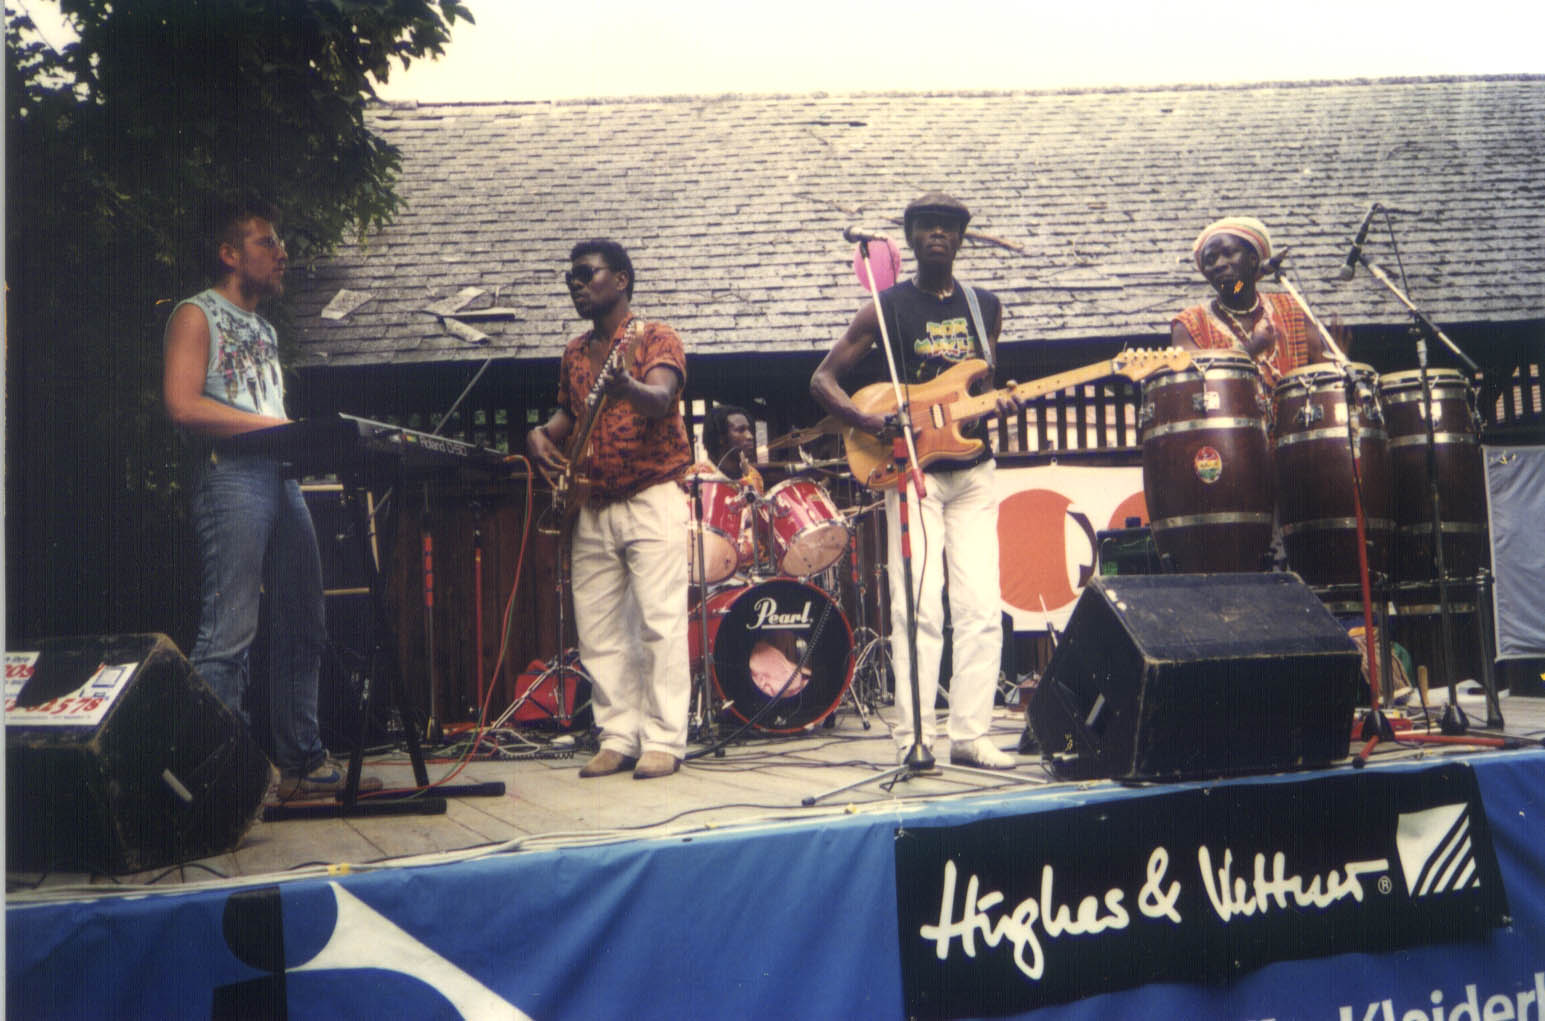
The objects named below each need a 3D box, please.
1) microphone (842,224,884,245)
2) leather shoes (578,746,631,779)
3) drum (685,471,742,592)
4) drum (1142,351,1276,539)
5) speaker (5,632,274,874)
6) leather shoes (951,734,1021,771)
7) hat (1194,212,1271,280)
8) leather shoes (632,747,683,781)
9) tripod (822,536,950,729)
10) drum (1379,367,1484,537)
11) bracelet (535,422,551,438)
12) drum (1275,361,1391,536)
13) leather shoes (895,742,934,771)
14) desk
[{"bbox_3d":[0.480,-1.457,10.589,0.190,0.123,0.250,-4,-5,12],"label":"microphone"},{"bbox_3d":[-0.891,1.336,10.744,0.120,0.133,0.329,-10,-13,44],"label":"leather shoes"},{"bbox_3d":[-0.406,0.015,12.205,0.334,0.366,0.339,-9,-20,20],"label":"drum"},{"bbox_3d":[2.330,-0.310,10.930,0.811,1.047,0.864,0,-17,0],"label":"drum"},{"bbox_3d":[-3.079,1.110,9.568,1.069,1.036,1.037,-8,-6,30],"label":"speaker"},{"bbox_3d":[1.082,1.257,10.471,0.138,0.160,0.375,-8,-6,-38],"label":"leather shoes"},{"bbox_3d":[2.591,-1.526,11.312,0.394,0.342,0.438,-4,-5,9],"label":"hat"},{"bbox_3d":[-0.594,1.324,10.629,0.176,0.149,0.393,-6,-5,28],"label":"leather shoes"},{"bbox_3d":[0.648,0.769,13.142,0.899,1.057,1.135,0,-13,5],"label":"tripod"},{"bbox_3d":[3.592,-0.352,11.018,0.461,0.929,0.715,-6,-5,32],"label":"drum"},{"bbox_3d":[-1.279,-0.447,10.976,0.042,0.087,0.115,-25,-2,-33],"label":"bracelet"},{"bbox_3d":[3.033,-0.347,10.987,0.535,0.914,0.460,-6,-5,32],"label":"drum"},{"bbox_3d":[0.740,1.250,10.273,0.159,0.155,0.284,-4,-5,6],"label":"leather shoes"},{"bbox_3d":[3.518,0.685,11.132,0.930,1.019,0.955,-7,-15,20],"label":"desk"}]
